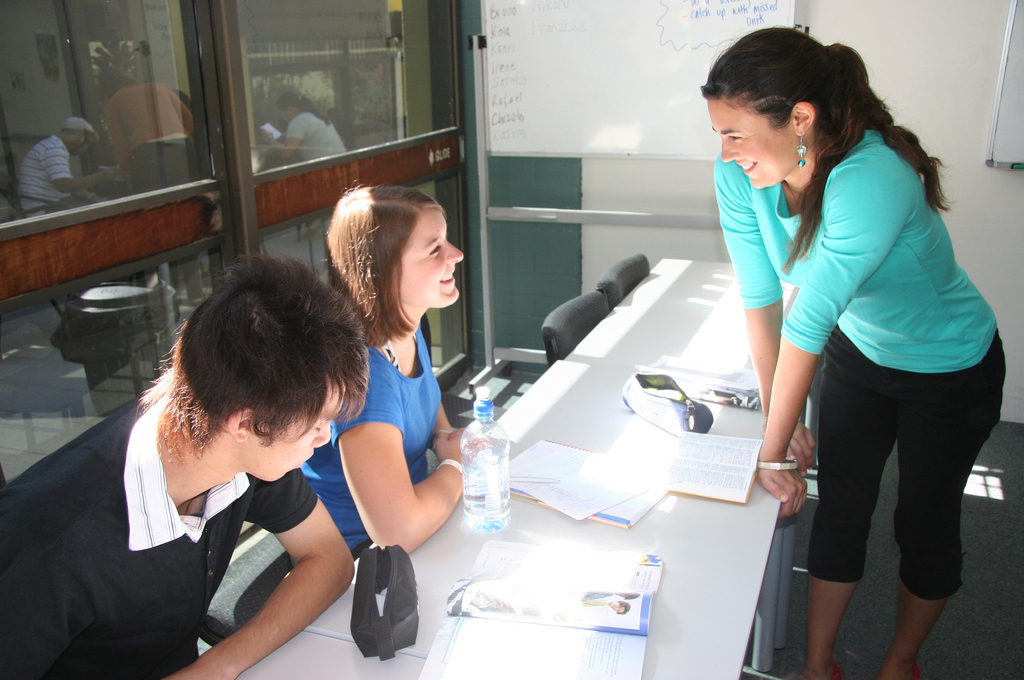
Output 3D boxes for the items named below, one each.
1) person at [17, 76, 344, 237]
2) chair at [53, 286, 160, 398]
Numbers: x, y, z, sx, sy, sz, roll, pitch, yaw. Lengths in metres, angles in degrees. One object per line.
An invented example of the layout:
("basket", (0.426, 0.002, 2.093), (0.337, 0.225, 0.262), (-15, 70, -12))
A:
("person", (-1.413, -0.762, 2.910), (0.279, 0.314, 0.903), (11, 25, 30))
("chair", (-1.620, -0.034, 2.885), (0.330, 0.377, 0.388), (3, 25, 2))
